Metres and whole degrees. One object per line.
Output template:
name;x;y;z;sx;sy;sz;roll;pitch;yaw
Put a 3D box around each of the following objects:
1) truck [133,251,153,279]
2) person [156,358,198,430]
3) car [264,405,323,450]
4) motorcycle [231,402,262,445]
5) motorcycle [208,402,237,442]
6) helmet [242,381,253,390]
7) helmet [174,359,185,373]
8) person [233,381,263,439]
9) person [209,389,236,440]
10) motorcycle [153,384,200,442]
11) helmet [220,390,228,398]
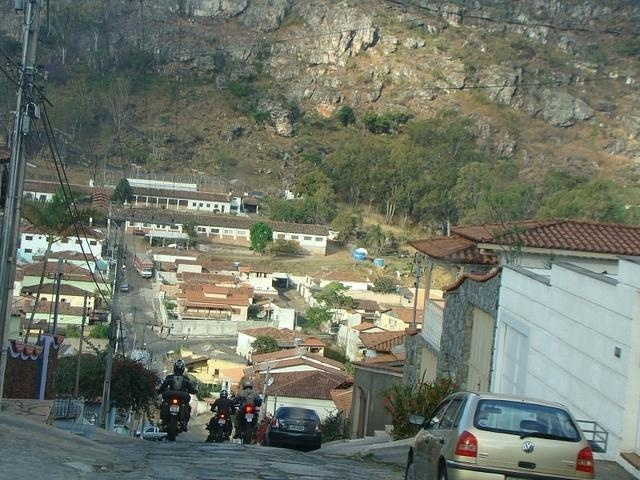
truck;-16.545;2.413;75.714;1.117;2.002;3.912;2;16;-16
person;-3.955;4.142;22.888;0.981;1.242;2.003;2;3;-3
car;-0.777;5.616;23.851;1.576;1.047;0.918;4;-3;-3
motorcycle;-2.158;5.215;23.413;0.557;0.834;1.237;2;-2;-3
motorcycle;-2.782;5.041;22.862;0.568;0.753;1.244;7;7;-1
helmet;-2.073;4.176;23.129;0.220;0.195;0.235;2;-3;0
helmet;-3.888;3.479;22.307;0.251;0.359;0.323;4;-6;-7
person;-2.105;4.915;23.234;0.834;1.229;1.902;1;1;-7
person;-2.782;4.956;22.890;0.655;0.852;1.410;7;11;-2
motorcycle;-3.988;4.705;22.318;0.774;1.081;1.818;1;-1;-2
helmet;-2.706;4.301;22.750;0.167;0.216;0.213;1;-31;-3
